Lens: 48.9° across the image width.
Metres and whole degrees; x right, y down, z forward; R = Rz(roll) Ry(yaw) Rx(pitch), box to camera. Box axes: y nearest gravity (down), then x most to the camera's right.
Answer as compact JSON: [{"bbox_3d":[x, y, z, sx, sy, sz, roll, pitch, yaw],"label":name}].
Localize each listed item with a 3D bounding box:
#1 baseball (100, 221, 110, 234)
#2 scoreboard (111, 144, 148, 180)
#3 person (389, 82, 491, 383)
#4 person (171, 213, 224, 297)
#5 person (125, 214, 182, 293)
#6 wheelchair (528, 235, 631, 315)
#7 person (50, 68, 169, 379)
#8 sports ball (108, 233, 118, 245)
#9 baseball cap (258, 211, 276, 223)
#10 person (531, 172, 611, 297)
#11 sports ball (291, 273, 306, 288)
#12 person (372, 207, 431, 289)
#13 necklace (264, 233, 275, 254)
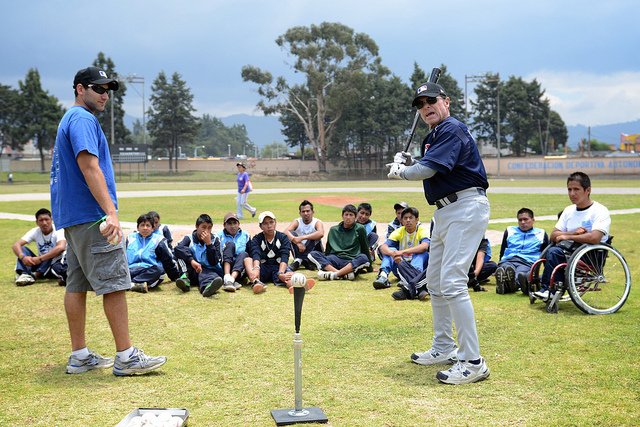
[{"bbox_3d":[-2.591,0.166,8.475,0.125,0.111,0.130,10,-17,-36],"label":"baseball"},{"bbox_3d":[-17.061,-4.489,65.092,4.550,3.579,1.493,3,4,21],"label":"scoreboard"},{"bbox_3d":[1.597,0.191,8.880,1.072,3.714,0.819,0,5,23],"label":"person"},{"bbox_3d":[-2.050,0.712,12.170,0.954,1.197,1.638,3,6,-11],"label":"person"},{"bbox_3d":[-3.019,0.690,12.165,1.601,1.249,0.836,1,5,-13],"label":"person"},{"bbox_3d":[3.911,0.967,10.808,1.130,1.189,2.254,0,-1,-4],"label":"wheelchair"},{"bbox_3d":[-2.793,0.110,8.788,1.189,3.872,0.671,-2,5,3],"label":"person"},{"bbox_3d":[-2.515,0.311,8.611,0.110,0.163,0.245,-3,5,-17],"label":"sports ball"},{"bbox_3d":[-1.010,0.078,13.616,0.374,0.166,0.547,-6,-2,-7],"label":"baseball cap"},{"bbox_3d":[3.835,0.332,10.729,1.058,1.898,0.973,3,6,42],"label":"person"},{"bbox_3d":[-0.235,0.749,7.923,0.152,0.166,0.193,-2,4,-5],"label":"sports ball"},{"bbox_3d":[1.483,0.595,12.394,1.010,1.221,1.720,-1,5,17],"label":"person"},{"bbox_3d":[-0.896,0.553,12.672,0.221,0.348,0.088,-7,-9,-9],"label":"necklace"}]
